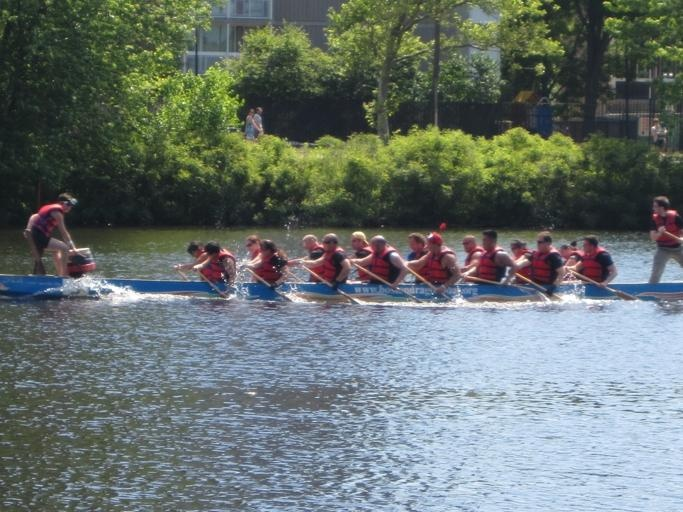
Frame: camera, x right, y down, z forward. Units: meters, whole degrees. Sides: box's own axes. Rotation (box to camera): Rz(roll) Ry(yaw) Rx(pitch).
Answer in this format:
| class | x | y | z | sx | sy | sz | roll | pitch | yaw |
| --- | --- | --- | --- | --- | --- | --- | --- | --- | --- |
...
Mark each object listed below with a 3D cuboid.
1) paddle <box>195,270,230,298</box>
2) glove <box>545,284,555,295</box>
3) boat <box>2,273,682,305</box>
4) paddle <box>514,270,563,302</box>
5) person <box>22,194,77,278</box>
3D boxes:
| class | x | y | z | sx | sy | sz | roll | pitch | yaw |
| --- | --- | --- | --- | --- | --- | --- | --- | --- | --- |
| paddle | -3.552 | 0.767 | 42.555 | 0.946 | 0.160 | 0.198 | 42 | 11 | 5 |
| glove | 5.736 | 0.919 | 42.500 | 0.258 | 0.284 | 0.116 | 2 | -2 | 13 |
| boat | 0.025 | 0.920 | 42.582 | 8.691 | 0.328 | 0.774 | 1 | 0 | 7 |
| paddle | 5.447 | 0.831 | 42.562 | 1.466 | 0.146 | 0.235 | 28 | 1 | 11 |
| person | -8.151 | -0.487 | 43.220 | 1.624 | 2.329 | 0.811 | 4 | 3 | -2 |
